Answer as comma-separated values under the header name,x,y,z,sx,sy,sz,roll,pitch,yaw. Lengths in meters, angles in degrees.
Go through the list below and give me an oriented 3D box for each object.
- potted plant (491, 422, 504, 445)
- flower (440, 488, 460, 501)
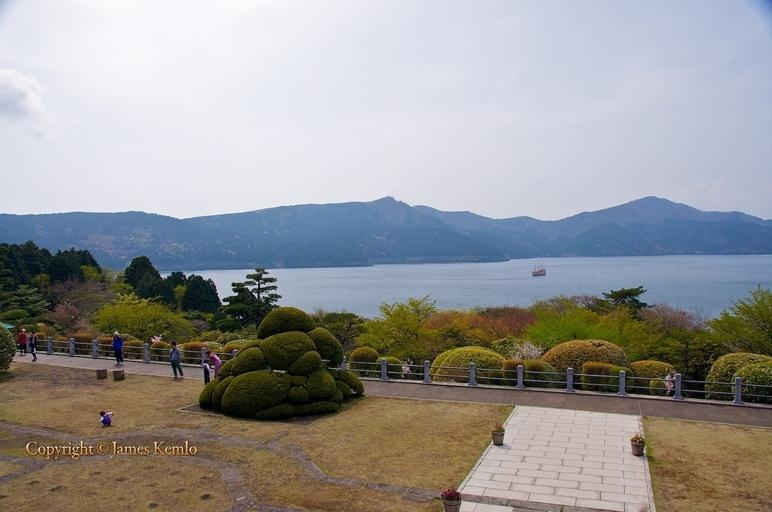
name,x,y,z,sx,sy,sz,roll,pitch,yaw
potted plant,4.111,6.559,18.060,0.419,0.666,0.421,1,7,9
flower,1.898,6.913,14.338,0.487,0.347,0.523,-2,-5,15
